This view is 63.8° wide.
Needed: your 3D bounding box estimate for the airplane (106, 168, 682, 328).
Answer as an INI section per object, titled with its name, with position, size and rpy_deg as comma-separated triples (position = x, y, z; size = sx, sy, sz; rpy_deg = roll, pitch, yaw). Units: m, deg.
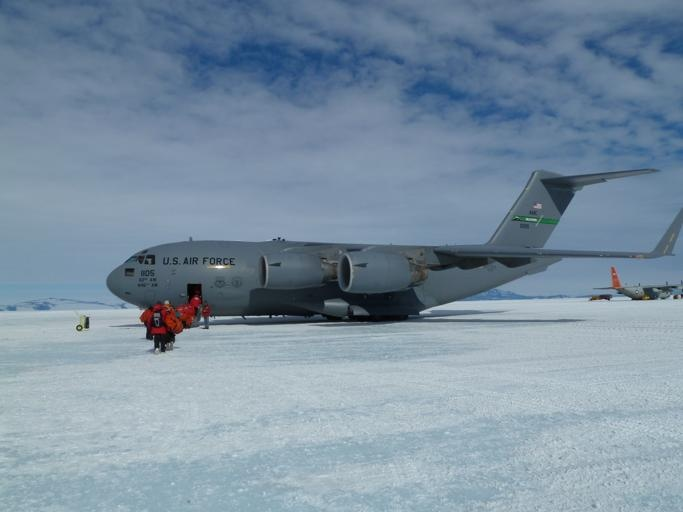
[airplane]
position = 0.911, 0.576, 23.498
size = 16.556, 2.861, 12.510
rpy_deg = 1, -1, -15
